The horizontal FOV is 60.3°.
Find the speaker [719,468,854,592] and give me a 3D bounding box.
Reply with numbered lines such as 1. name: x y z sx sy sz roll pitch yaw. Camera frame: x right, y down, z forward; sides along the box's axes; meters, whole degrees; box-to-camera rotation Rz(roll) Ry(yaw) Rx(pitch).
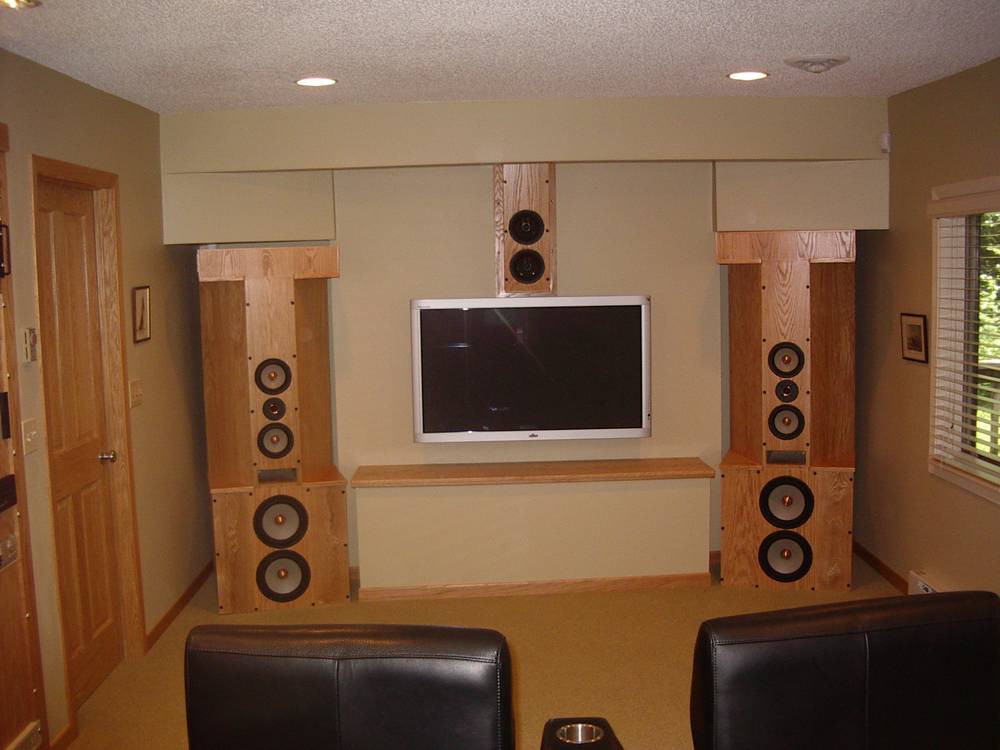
1. speaker: 1.690 0.941 5.236 0.804 0.743 0.478 1 -6 6

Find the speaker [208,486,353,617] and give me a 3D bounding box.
1. speaker: -1.259 1.021 4.951 0.736 0.698 0.254 -1 2 -8
